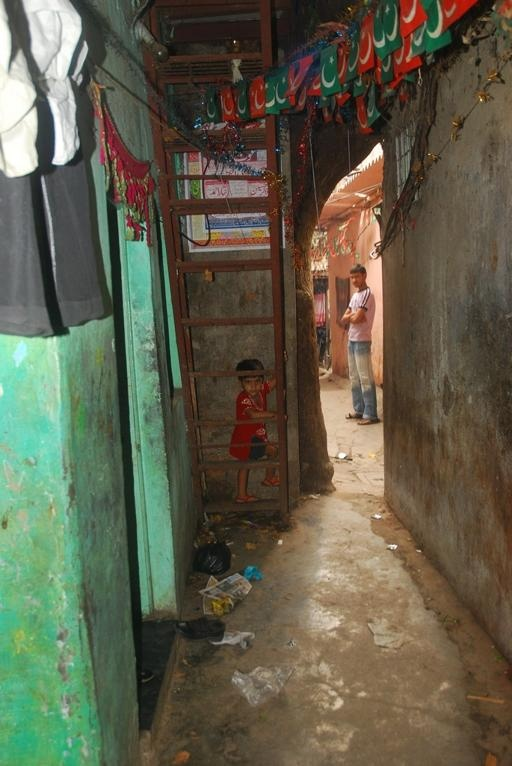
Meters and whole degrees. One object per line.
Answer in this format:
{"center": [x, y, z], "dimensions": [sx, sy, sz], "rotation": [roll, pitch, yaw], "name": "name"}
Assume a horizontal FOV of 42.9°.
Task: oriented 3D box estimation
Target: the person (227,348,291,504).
{"center": [0.021, 0.286, 5.087], "dimensions": [0.483, 1.442, 0.703], "rotation": [1, 22, 10], "name": "person"}

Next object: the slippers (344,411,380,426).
{"center": [1.369, 0.473, 8.358], "dimensions": [0.480, 0.223, 0.153], "rotation": [7, 0, -4], "name": "slippers"}

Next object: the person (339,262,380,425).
{"center": [1.297, -0.454, 8.201], "dimensions": [0.417, 1.974, 0.692], "rotation": [-2, 12, 9], "name": "person"}
